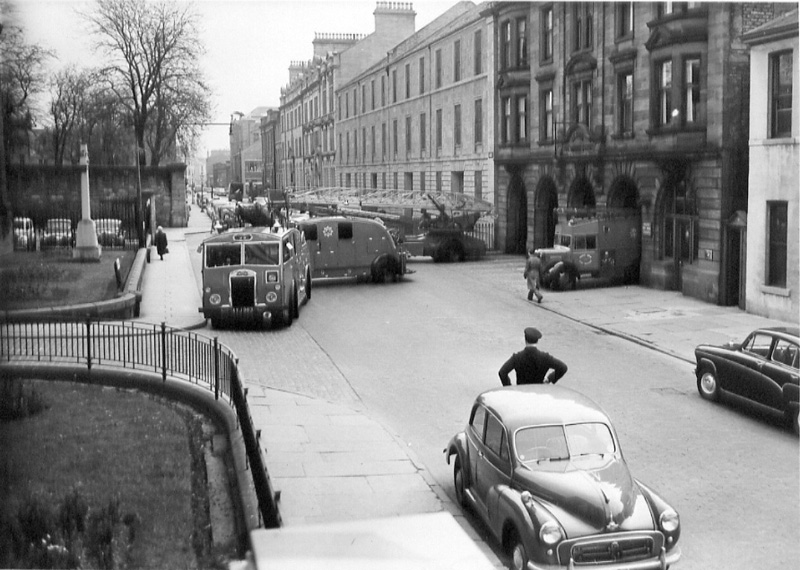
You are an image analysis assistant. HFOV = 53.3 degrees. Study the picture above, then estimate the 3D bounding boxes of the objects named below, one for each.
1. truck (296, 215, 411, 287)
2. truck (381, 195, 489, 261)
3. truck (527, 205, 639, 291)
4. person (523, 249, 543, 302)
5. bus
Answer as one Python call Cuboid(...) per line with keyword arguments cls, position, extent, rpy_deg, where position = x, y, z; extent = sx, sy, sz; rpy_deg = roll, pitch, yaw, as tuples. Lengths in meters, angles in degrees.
Cuboid(cls="truck", position=(-2.083, -1.469, 33.194), extent=(3.521, 2.338, 2.207), rpy_deg=(1, 3, -9))
Cuboid(cls="truck", position=(2.261, -2.928, 42.137), extent=(3.978, 3.669, 2.375), rpy_deg=(0, 3, 2))
Cuboid(cls="truck", position=(7.590, -1.340, 32.336), extent=(3.762, 2.906, 2.219), rpy_deg=(-3, 5, -4))
Cuboid(cls="person", position=(5.057, -0.384, 29.972), extent=(0.622, 1.665, 3.110), rpy_deg=(0, 9, 10))
Cuboid(cls="bus", position=(-4.297, -0.221, 25.225), extent=(2.061, 3.055, 4.102), rpy_deg=(4, 10, 32))
